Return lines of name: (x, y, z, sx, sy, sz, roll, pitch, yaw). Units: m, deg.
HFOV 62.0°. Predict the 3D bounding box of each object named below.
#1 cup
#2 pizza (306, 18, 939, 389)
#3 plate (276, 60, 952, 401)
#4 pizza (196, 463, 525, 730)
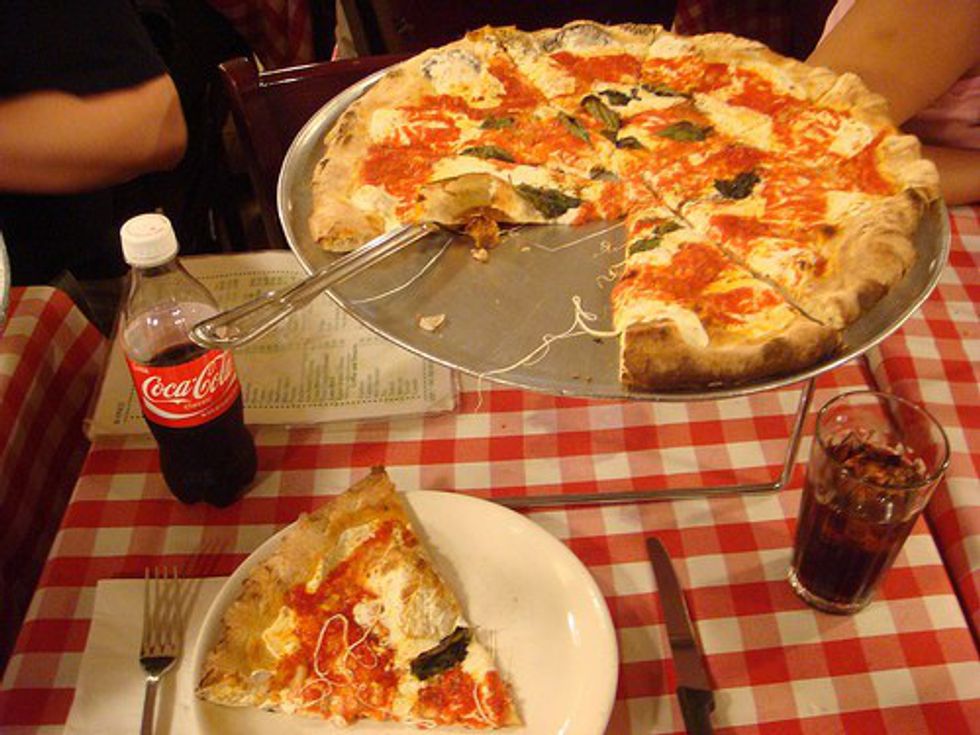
cup: (0.457, 0.169, 0.979, 0.145, 0.219, 0.139, -1, 45, 1)
pizza: (0.199, -0.207, 1.363, 0.772, 0.102, 0.714, 4, 49, 2)
plate: (0.173, -0.096, 1.016, 0.583, 0.184, 0.516, 32, 58, 18)
pizza: (-0.170, 0.313, 0.916, 0.297, 0.052, 0.347, -26, 60, -21)
